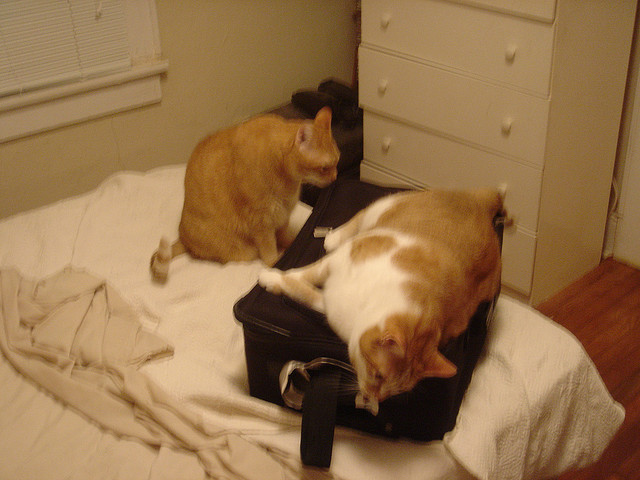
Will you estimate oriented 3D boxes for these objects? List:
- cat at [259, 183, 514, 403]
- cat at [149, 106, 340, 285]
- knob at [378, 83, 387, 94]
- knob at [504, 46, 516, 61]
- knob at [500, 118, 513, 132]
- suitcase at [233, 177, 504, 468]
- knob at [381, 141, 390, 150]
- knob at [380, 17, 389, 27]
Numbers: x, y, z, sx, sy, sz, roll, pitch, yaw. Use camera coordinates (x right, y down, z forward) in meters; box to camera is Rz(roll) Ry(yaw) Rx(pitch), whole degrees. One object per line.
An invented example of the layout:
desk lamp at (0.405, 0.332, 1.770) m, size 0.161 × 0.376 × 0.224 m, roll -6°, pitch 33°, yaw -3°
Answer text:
cat at (0.115, 0.047, 0.837) m, size 0.244 × 0.127 × 0.354 m, roll 33°, pitch 63°, yaw 13°
cat at (-0.110, -0.051, 1.014) m, size 0.257 × 0.225 × 0.233 m, roll 1°, pitch 57°, yaw 4°
knob at (0.187, -0.463, 1.810) m, size 0.025 × 0.017 × 0.032 m, roll 12°, pitch 72°, yaw 31°
knob at (0.483, -0.477, 1.520) m, size 0.026 × 0.028 × 0.027 m, roll 27°, pitch 68°, yaw 21°
knob at (0.496, -0.305, 1.586) m, size 0.026 × 0.036 × 0.034 m, roll -29°, pitch 14°, yaw -37°
suitcase at (0.089, 0.108, 1.020) m, size 0.356 × 0.189 × 0.529 m, roll -1°, pitch 37°, yaw 13°
knob at (0.195, -0.280, 1.780) m, size 0.016 × 0.020 × 0.018 m, roll 6°, pitch 10°, yaw 13°
knob at (0.187, -0.632, 1.729) m, size 0.016 × 0.031 × 0.028 m, roll 17°, pitch 8°, yaw 16°
